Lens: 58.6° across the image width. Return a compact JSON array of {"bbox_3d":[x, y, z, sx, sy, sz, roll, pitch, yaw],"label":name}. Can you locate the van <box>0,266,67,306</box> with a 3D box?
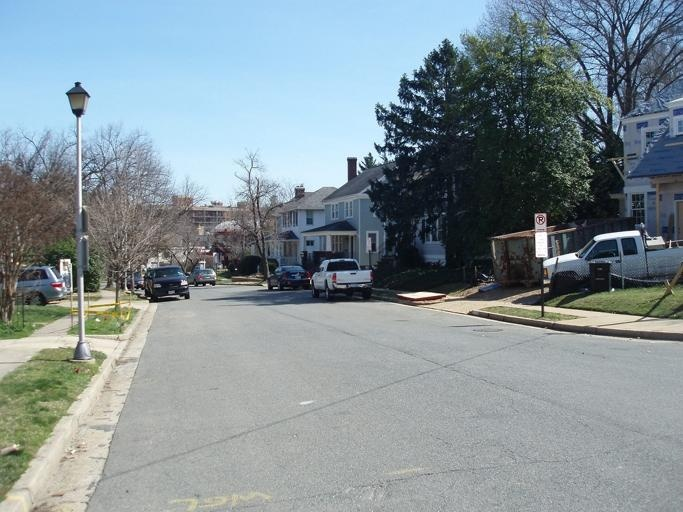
[{"bbox_3d":[-12.252,1.178,24.265,2.533,1.341,1.482,4,-2,-8],"label":"van"}]

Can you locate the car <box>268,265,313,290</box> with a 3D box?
[{"bbox_3d":[-3.742,1.519,41.700,2.822,1.585,2.178,2,5,40],"label":"car"}]

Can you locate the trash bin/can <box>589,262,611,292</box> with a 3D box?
[{"bbox_3d":[8.806,0.712,20.707,0.658,1.003,0.344,1,5,27],"label":"trash bin/can"}]
